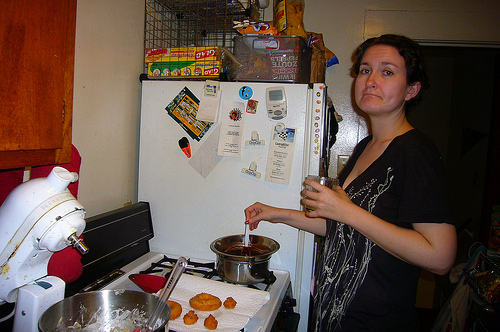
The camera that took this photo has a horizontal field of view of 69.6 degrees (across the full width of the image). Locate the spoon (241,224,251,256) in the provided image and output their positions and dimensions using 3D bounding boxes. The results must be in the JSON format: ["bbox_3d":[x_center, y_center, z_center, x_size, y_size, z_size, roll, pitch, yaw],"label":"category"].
[{"bbox_3d":[-0.023,0.379,1.834,0.037,0.155,0.023,3,3,5],"label":"spoon"}]

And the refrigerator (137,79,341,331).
[{"bbox_3d":[0.236,0.156,3.224,1.350,2.553,1.305,0,0,16],"label":"refrigerator"}]

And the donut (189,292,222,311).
[{"bbox_3d":[-0.201,0.607,1.607,0.093,0.030,0.071,3,15,1],"label":"donut"}]

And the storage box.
[{"bbox_3d":[0.115,-0.606,2.021,0.304,0.187,0.308,3,9,10],"label":"storage box"}]

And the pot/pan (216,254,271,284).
[{"bbox_3d":[-0.035,0.496,1.786,0.230,0.083,0.141,5,0,21],"label":"pot/pan"}]
